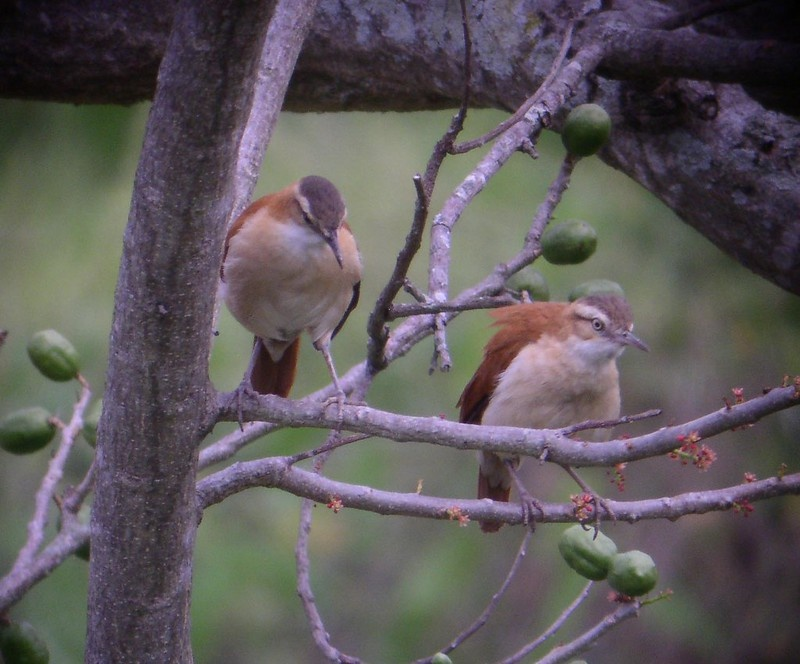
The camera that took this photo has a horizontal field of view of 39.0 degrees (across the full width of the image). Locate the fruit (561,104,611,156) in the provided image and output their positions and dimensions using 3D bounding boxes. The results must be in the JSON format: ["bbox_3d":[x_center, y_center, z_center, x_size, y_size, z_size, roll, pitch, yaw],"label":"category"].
[{"bbox_3d":[0.719,-0.764,4.250,0.132,0.146,0.192,4,-46,3],"label":"fruit"}]

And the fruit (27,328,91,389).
[{"bbox_3d":[-1.262,0.088,4.166,0.186,0.148,0.175,21,-68,13],"label":"fruit"}]

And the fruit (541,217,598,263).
[{"bbox_3d":[0.645,-0.336,4.370,0.202,0.143,0.183,-3,-54,-10],"label":"fruit"}]

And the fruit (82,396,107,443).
[{"bbox_3d":[-1.128,0.354,4.148,0.036,0.139,0.083,-5,-42,1],"label":"fruit"}]

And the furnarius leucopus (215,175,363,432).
[{"bbox_3d":[-0.499,-0.153,5.133,0.451,0.944,1.113,4,-21,-13],"label":"furnarius leucopus"}]

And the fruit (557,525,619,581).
[{"bbox_3d":[0.652,0.778,3.967,0.158,0.219,0.161,-2,-73,-38],"label":"fruit"}]

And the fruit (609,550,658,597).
[{"bbox_3d":[0.795,0.814,3.858,0.158,0.136,0.149,-58,-28,-16],"label":"fruit"}]
